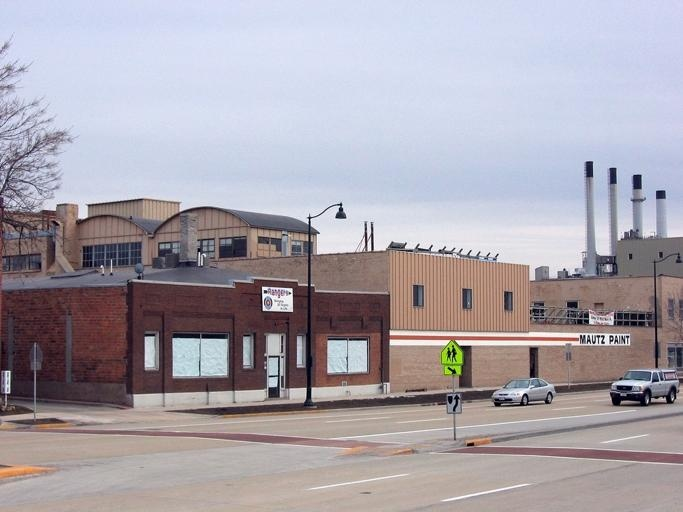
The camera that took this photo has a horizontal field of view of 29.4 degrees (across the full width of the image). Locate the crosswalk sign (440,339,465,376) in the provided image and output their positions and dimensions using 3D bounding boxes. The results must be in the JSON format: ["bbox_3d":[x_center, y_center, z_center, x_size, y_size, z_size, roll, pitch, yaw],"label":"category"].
[{"bbox_3d":[4.767,4.339,55.471,0.694,1.489,1.256,0,-6,-6],"label":"crosswalk sign"}]

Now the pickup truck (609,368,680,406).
[{"bbox_3d":[17.278,7.401,73.437,1.843,2.057,5.103,-6,-8,40],"label":"pickup truck"}]
